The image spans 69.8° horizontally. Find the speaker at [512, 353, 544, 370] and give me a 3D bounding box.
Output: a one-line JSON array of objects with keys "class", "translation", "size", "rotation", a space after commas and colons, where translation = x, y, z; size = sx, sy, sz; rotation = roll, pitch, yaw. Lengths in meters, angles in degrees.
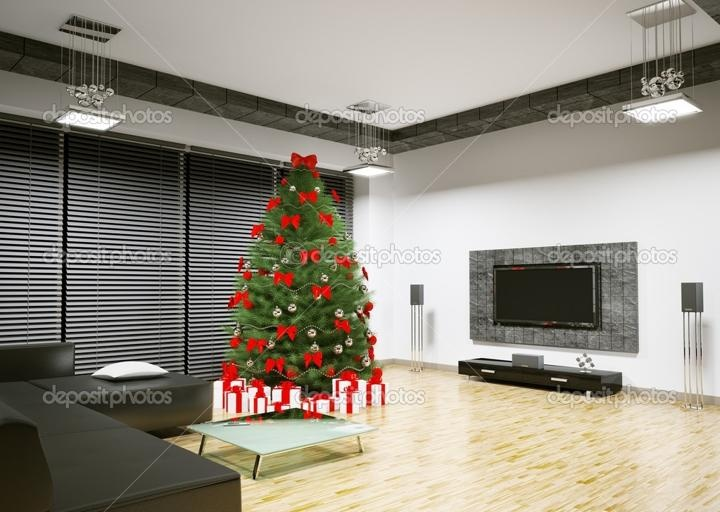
[{"class": "speaker", "translation": [2.176, 1.367, 6.644], "size": [0.344, 0.160, 0.150], "rotation": [1, -8, 30]}]

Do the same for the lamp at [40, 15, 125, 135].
[{"class": "lamp", "translation": [-2.698, -1.680, 5.146], "size": [0.556, 1.172, 1.350], "rotation": [-1, 0, -28]}]

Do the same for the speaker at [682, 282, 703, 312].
[{"class": "speaker", "translation": [3.624, 0.445, 5.637], "size": [0.200, 0.238, 0.230], "rotation": [-1, 0, 29]}]

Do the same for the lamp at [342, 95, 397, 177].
[{"class": "lamp", "translation": [0.143, -1.699, 7.331], "size": [0.757, 0.820, 0.711], "rotation": [-3, 11, -36]}]

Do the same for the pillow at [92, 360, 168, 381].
[{"class": "pillow", "translation": [-2.144, 1.091, 4.892], "size": [0.384, 0.097, 0.269], "rotation": [3, -4, -36]}]

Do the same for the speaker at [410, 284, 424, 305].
[{"class": "speaker", "translation": [0.899, 0.606, 8.004], "size": [0.211, 0.297, 0.279], "rotation": [-1, 0, 5]}]
